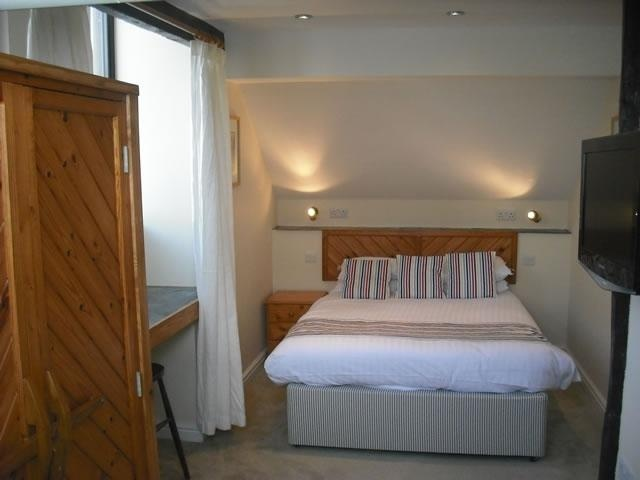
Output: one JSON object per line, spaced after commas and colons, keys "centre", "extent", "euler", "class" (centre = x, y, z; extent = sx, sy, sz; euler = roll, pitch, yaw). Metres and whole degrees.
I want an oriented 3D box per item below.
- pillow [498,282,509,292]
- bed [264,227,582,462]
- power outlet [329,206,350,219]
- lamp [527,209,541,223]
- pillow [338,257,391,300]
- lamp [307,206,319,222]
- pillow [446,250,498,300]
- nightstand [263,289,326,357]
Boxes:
{"centre": [1.773, 0.456, 4.983], "extent": [0.081, 0.034, 0.110], "euler": [5, 18, 16], "class": "pillow"}
{"centre": [0.775, 0.807, 4.285], "extent": [2.145, 1.008, 1.799], "euler": [0, 12, 8], "class": "bed"}
{"centre": [0.208, -0.290, 5.612], "extent": [0.211, 0.116, 0.043], "euler": [-2, 11, -2], "class": "power outlet"}
{"centre": [2.182, -0.235, 5.226], "extent": [0.130, 0.129, 0.103], "euler": [4, 13, 22], "class": "lamp"}
{"centre": [0.467, 0.391, 5.046], "extent": [0.384, 0.389, 0.108], "euler": [0, -14, 2], "class": "pillow"}
{"centre": [-0.078, -0.286, 5.611], "extent": [0.107, 0.151, 0.140], "euler": [-4, 19, -2], "class": "lamp"}
{"centre": [1.416, 0.334, 4.834], "extent": [0.424, 0.430, 0.104], "euler": [-3, -22, 8], "class": "pillow"}
{"centre": [-0.290, 0.803, 5.226], "extent": [0.551, 0.561, 0.572], "euler": [-1, 5, 0], "class": "nightstand"}
